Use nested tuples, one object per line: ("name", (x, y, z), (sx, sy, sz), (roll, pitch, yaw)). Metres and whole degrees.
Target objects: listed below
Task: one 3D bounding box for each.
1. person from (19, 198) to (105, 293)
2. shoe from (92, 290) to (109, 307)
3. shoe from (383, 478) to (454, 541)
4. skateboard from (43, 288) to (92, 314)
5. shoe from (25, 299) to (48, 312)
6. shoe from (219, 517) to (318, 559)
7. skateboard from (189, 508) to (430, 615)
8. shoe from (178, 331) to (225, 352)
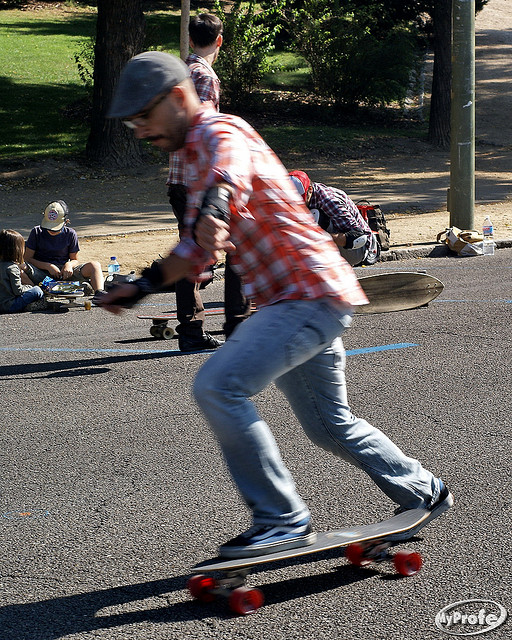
("person", (-2.252, -0.782, 8.126), (1.008, 0.995, 1.094), (-3, 17, -29))
("shoe", (-0.465, -0.064, 2.185), (0.044, 0.040, 0.121), (4, -5, -34))
("shoe", (0.631, 0.690, 2.630), (0.363, 0.125, 0.121), (-31, 27, -24))
("skateboard", (-2.068, -0.202, 8.073), (0.511, 0.107, 0.333), (-4, 18, -25))
("shoe", (-2.350, -0.160, 7.889), (0.245, 0.121, 0.081), (-11, 16, -39))
("shoe", (0.029, 0.624, 2.304), (0.425, 0.084, 0.189), (-2, 15, -1))
("skateboard", (0.194, 0.787, 2.382), (0.844, 0.154, 0.247), (-4, -2, -25))
("shoe", (-0.419, 0.171, 5.981), (0.380, 0.159, 0.186), (-11, 15, -39))
